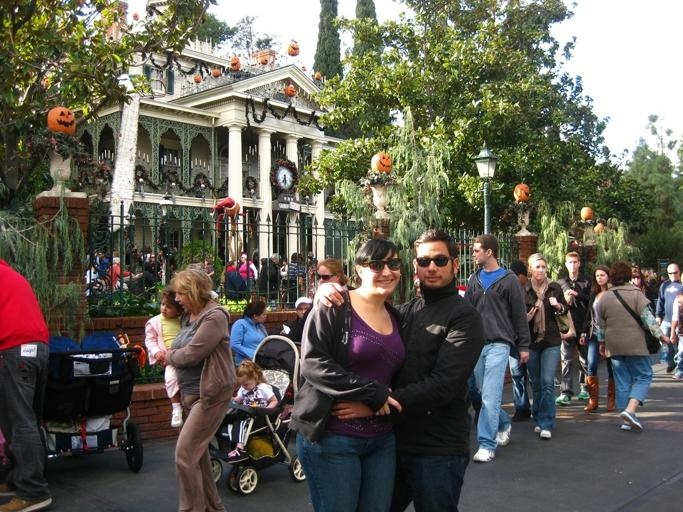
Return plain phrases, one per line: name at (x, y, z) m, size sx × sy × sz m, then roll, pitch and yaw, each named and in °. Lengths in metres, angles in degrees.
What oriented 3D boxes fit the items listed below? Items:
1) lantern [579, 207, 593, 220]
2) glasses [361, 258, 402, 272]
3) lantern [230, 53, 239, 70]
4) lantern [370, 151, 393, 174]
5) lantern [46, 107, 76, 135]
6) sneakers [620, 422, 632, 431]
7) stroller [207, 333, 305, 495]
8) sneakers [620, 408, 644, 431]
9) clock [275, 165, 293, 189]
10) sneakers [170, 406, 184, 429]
lantern at (7.682, -1.331, 22.152) m, size 0.350 × 0.392 × 0.387 m, roll -8°, pitch 32°, yaw 42°
glasses at (0.341, 0.073, 5.861) m, size 0.321 × 0.114 × 0.118 m, roll -1°, pitch 2°, yaw -5°
lantern at (-5.266, -9.528, 34.739) m, size 0.336 × 0.903 × 1.345 m, roll -1°, pitch 1°, yaw -5°
lantern at (0.835, -1.899, 14.460) m, size 0.428 × 0.540 × 0.434 m, roll 9°, pitch 13°, yaw 7°
lantern at (-4.256, -2.056, 10.702) m, size 0.384 × 0.477 × 0.478 m, roll -1°, pitch 2°, yaw -23°
sneakers at (4.256, 2.557, 10.566) m, size 0.199 × 0.094 × 0.070 m, roll -3°, pitch 1°, yaw 36°
stroller at (-1.081, 1.892, 8.849) m, size 1.216 × 1.818 × 1.362 m, roll 1°, pitch -2°, yaw 25°
sneakers at (4.368, 2.497, 10.563) m, size 0.465 × 0.216 × 0.166 m, roll 48°, pitch -31°, yaw -23°
clock at (-2.614, -3.584, 32.310) m, size 0.436 × 1.040 × 1.101 m, roll 1°, pitch 2°, yaw 32°
sneakers at (-2.088, 2.006, 8.917) m, size 0.121 × 0.171 × 0.387 m, roll 0°, pitch -4°, yaw -3°
